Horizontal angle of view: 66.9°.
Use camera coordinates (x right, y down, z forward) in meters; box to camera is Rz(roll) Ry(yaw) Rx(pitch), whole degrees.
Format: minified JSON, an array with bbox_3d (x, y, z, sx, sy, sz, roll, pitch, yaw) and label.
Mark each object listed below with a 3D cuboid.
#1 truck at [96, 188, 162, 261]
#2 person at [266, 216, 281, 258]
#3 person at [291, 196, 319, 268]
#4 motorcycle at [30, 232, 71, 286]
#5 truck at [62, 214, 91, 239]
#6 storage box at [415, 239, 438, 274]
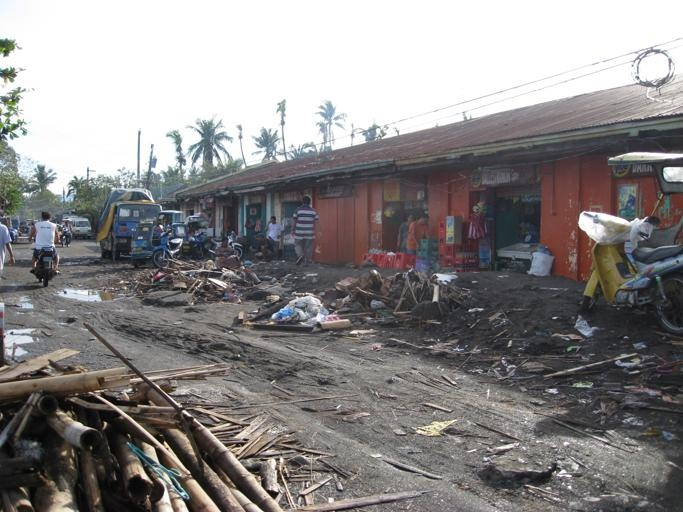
[{"bbox_3d":[-9.061,-1.526,22.321,1.809,2.151,4.727,1,-2,-27],"label":"truck"},{"bbox_3d":[-2.600,-0.788,20.364,0.602,1.604,0.816,6,13,33],"label":"person"},{"bbox_3d":[-1.177,-0.858,16.951,0.670,2.265,1.079,-6,12,-21],"label":"person"},{"bbox_3d":[-7.599,0.160,13.833,0.853,0.980,1.654,-1,3,-25],"label":"motorcycle"},{"bbox_3d":[-20.576,-2.299,40.445,1.836,1.667,3.301,-1,0,-34],"label":"truck"},{"bbox_3d":[2.350,-0.060,14.122,0.590,0.745,0.994,0,10,8],"label":"storage box"}]
